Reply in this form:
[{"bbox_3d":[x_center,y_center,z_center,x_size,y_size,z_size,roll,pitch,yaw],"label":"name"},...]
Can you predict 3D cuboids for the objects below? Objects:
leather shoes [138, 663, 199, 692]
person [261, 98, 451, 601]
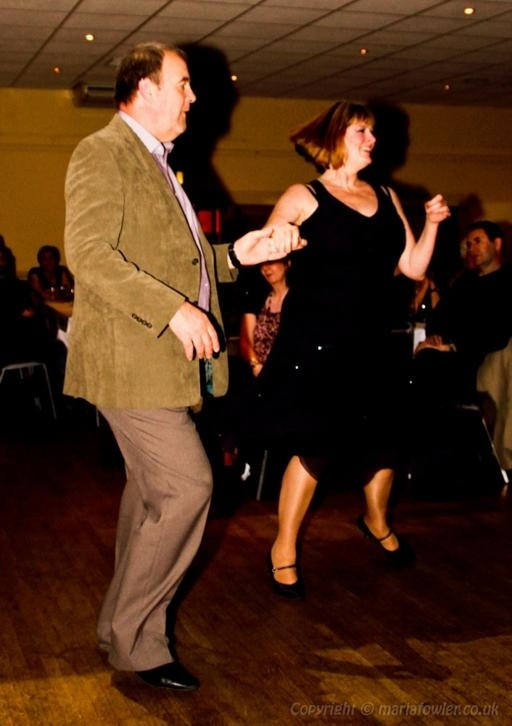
[{"bbox_3d":[-0.192,0.718,1.435,0.167,0.057,0.053,4,0,1],"label":"leather shoes"},{"bbox_3d":[0.256,-0.040,1.990,0.683,1.474,0.446,-6,10,-32],"label":"person"}]
